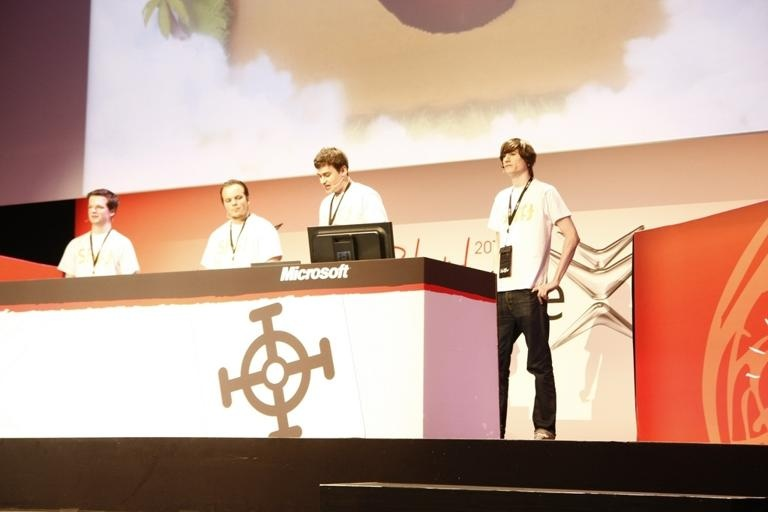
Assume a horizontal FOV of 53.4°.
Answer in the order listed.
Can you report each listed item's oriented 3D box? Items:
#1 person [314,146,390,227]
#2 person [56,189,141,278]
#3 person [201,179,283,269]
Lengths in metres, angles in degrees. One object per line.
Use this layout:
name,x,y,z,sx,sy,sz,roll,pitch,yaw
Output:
person,-0.245,-0.593,6.309,0.483,0.788,0.795,-5,-1,-34
person,-2.638,-0.207,7.117,0.768,1.155,0.364,-2,-11,5
person,-1.223,-0.282,6.739,0.622,0.890,0.324,-15,-25,18
